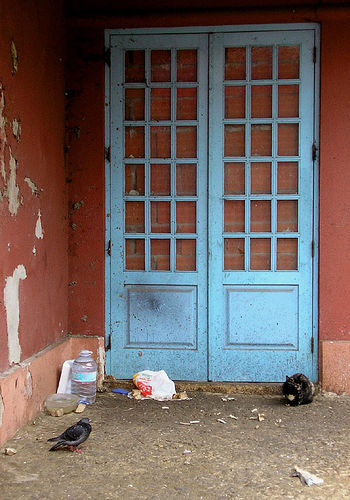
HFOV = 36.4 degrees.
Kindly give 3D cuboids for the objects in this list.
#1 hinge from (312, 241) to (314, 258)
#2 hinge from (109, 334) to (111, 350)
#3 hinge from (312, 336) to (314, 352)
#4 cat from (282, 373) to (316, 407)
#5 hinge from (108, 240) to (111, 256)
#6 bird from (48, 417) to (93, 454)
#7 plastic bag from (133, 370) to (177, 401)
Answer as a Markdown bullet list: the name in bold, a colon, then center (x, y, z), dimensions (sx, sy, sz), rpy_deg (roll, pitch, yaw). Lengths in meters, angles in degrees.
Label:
- **hinge**: center (1.013, -0.007, 3.914), dimensions (0.014, 0.111, 0.006), rpy_deg (2, 4, 12)
- **hinge**: center (-0.494, 0.696, 4.031), dimensions (0.017, 0.103, 0.010), rpy_deg (1, 3, 2)
- **hinge**: center (1.012, 0.693, 3.912), dimensions (0.011, 0.104, 0.018), rpy_deg (1, 4, 5)
- **cat**: center (0.857, 0.962, 3.695), dimensions (0.207, 0.196, 0.247), rpy_deg (2, 4, 16)
- **hinge**: center (-0.498, -0.011, 4.036), dimensions (0.023, 0.115, 0.010), rpy_deg (1, 3, -2)
- **bird**: center (-0.562, 0.993, 2.846), dimensions (0.209, 0.158, 0.249), rpy_deg (0, 4, -13)
- **plastic bag**: center (-0.151, 0.969, 3.834), dimensions (0.307, 0.164, 0.228), rpy_deg (1, 4, -3)
